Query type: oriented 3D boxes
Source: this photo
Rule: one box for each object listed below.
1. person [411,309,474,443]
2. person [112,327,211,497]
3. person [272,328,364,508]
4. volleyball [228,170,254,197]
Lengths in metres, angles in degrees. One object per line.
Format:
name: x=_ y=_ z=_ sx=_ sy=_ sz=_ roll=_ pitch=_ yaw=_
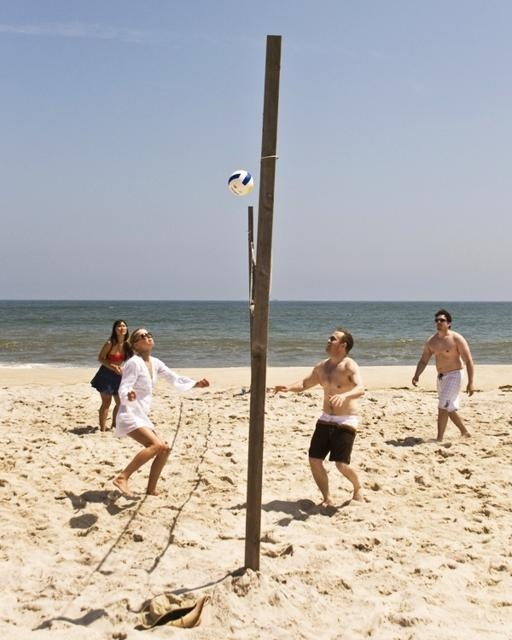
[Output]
person: x=2.207 y=0.633 z=8.427 sx=0.673 sy=1.512 sz=0.628 roll=1 pitch=4 yaw=14
person: x=-0.887 y=0.801 z=6.101 sx=0.635 sy=1.439 sz=0.832 roll=1 pitch=3 yaw=10
person: x=0.666 y=0.844 z=6.102 sx=0.753 sy=1.515 sz=0.784 roll=-2 pitch=4 yaw=-37
volleyball: x=-0.122 y=-1.074 z=5.654 sx=0.165 sy=0.194 sz=0.222 roll=0 pitch=3 yaw=-5
